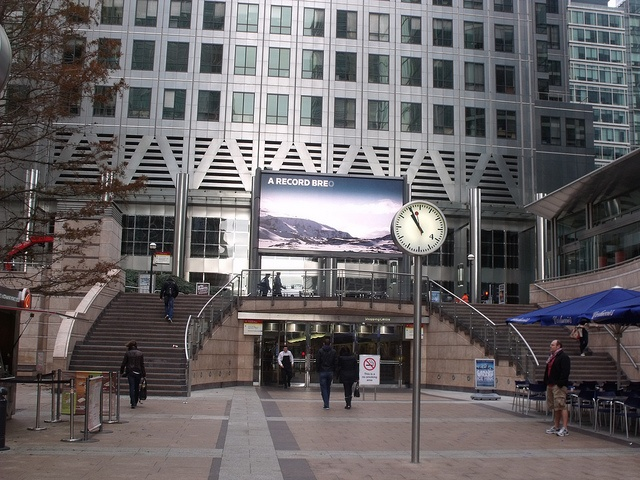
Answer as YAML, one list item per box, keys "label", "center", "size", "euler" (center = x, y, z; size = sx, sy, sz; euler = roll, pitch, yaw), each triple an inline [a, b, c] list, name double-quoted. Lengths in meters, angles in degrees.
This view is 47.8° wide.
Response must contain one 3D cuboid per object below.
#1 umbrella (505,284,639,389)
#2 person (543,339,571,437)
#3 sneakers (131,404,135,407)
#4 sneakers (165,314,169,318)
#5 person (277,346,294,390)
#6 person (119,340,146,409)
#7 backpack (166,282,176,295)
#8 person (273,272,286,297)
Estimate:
- label: "umbrella"
  center: [8.332, 3.028, 21.793]
  size: [3.340, 2.086, 3.295]
  euler: [1, -5, -8]
- label: "person"
  center: [6.284, 3.947, 19.186]
  size: [0.714, 2.472, 1.119]
  euler: [-4, -10, 12]
- label: "sneakers"
  center: [-5.719, 5.097, 22.099]
  size: [0.079, 0.129, 0.094]
  euler: [-1, -5, 1]
- label: "sneakers"
  center: [-6.740, 3.429, 31.821]
  size: [0.111, 0.143, 0.335]
  euler: [3, -17, -19]
- label: "person"
  center: [-1.520, 5.653, 31.887]
  size: [0.581, 1.777, 1.409]
  euler: [-2, -9, -4]
- label: "person"
  center: [-5.723, 4.141, 22.048]
  size: [0.676, 2.033, 1.174]
  euler: [0, -10, -14]
- label: "backpack"
  center: [-6.574, 2.196, 31.688]
  size: [0.529, 0.557, 0.307]
  euler: [1, -7, -15]
- label: "person"
  center: [-1.947, 2.120, 33.276]
  size: [0.444, 1.096, 0.173]
  euler: [-2, -10, -2]
